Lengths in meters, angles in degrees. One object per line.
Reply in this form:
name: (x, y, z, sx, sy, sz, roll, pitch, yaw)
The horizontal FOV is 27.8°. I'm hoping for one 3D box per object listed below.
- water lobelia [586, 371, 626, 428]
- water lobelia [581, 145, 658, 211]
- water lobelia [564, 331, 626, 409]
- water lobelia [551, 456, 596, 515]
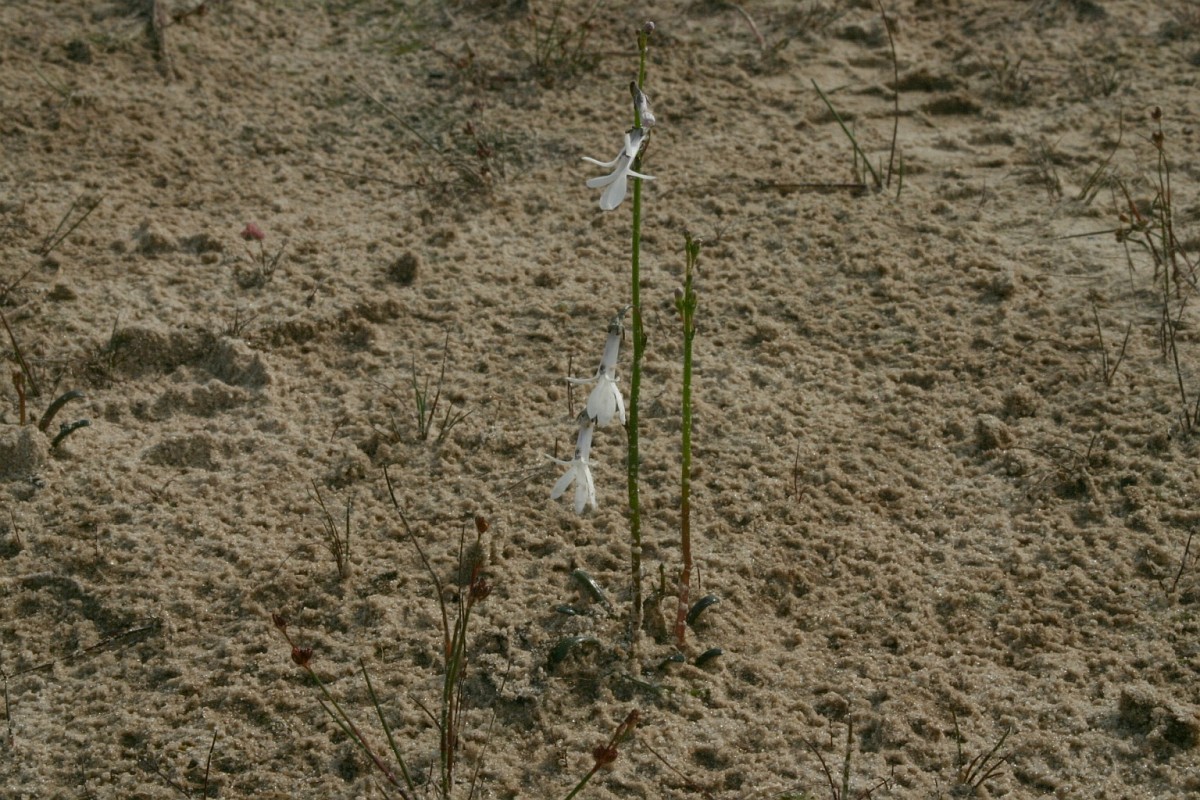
water lobelia: (0.019, 0.000, 13.052, 0.200, 0.421, 0.154, -6, 21, -28)
water lobelia: (0.121, -1.139, 12.833, 0.337, 0.402, 0.103, 17, 7, 29)
water lobelia: (0.006, -0.191, 12.946, 0.331, 0.408, 0.322, 11, 17, 8)
water lobelia: (-0.103, 0.478, 12.969, 0.073, 0.309, 0.270, -8, 29, -45)
